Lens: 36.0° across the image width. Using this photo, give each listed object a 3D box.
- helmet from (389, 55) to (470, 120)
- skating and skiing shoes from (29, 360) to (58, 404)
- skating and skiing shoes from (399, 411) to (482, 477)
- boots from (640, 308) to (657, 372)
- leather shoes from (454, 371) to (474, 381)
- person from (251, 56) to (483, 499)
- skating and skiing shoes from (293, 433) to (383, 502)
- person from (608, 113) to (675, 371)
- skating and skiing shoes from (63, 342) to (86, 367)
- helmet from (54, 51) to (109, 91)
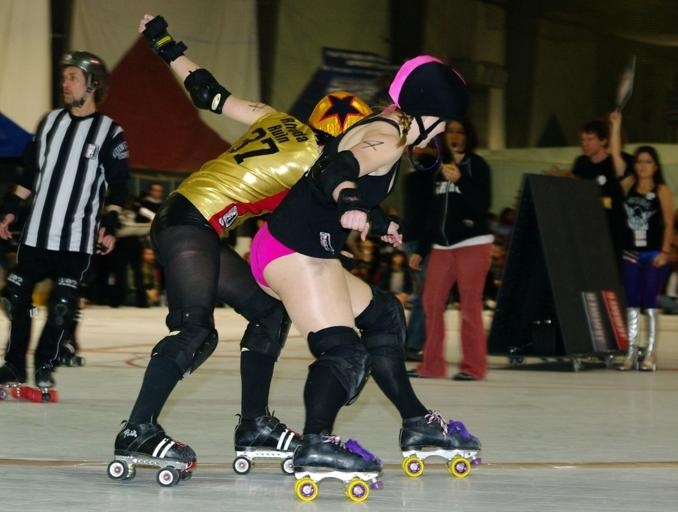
[{"bbox_3d":[0.438,-0.842,5.116,0.375,0.329,0.266,3,22,-15],"label":"helmet"},{"bbox_3d":[-1.901,0.805,6.764,0.153,0.218,0.258,6,-3,-17],"label":"skating and skiing shoes"},{"bbox_3d":[0.493,0.948,5.237,0.304,0.224,0.130,1,-18,-3],"label":"skating and skiing shoes"},{"bbox_3d":[2.538,0.674,8.545,0.122,0.508,0.255,5,-3,17],"label":"boots"},{"bbox_3d":[0.930,0.893,7.838,0.166,0.066,0.057,-2,-10,13],"label":"leather shoes"},{"bbox_3d":[0.162,0.079,5.066,1.002,1.583,0.718,7,-3,-30],"label":"person"},{"bbox_3d":[-0.006,0.974,4.882,0.376,0.257,0.277,1,-2,-1],"label":"skating and skiing shoes"},{"bbox_3d":[2.434,-0.125,8.602,0.582,2.096,0.411,5,-3,13],"label":"person"},{"bbox_3d":[-2.083,0.761,8.212,0.179,0.174,0.179,-1,2,-12],"label":"skating and skiing shoes"},{"bbox_3d":[-1.692,-1.221,6.881,0.294,0.230,0.223,-5,14,-21],"label":"helmet"}]
